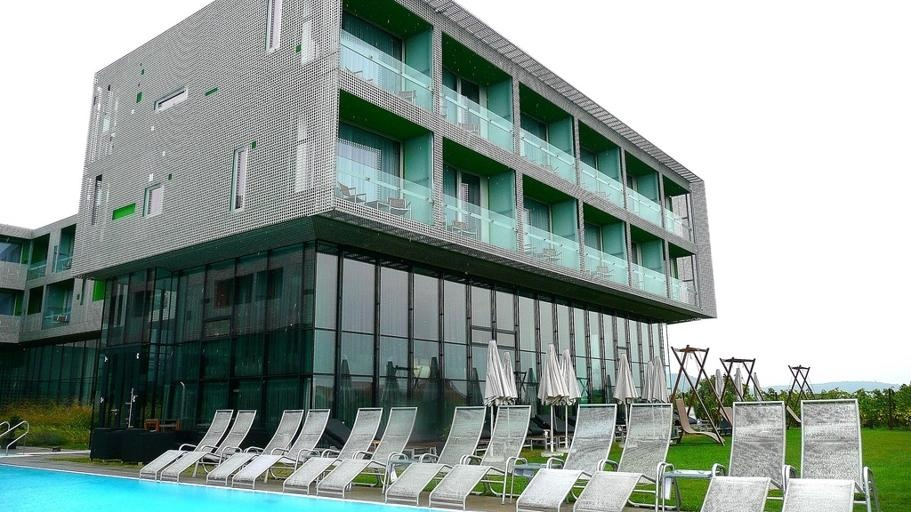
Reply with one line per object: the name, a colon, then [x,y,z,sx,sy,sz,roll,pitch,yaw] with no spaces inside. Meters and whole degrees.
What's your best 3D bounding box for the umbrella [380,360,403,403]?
umbrella: [-2.724,5.486,26.513,0.972,1.794,0.397,16,-26,-38]
